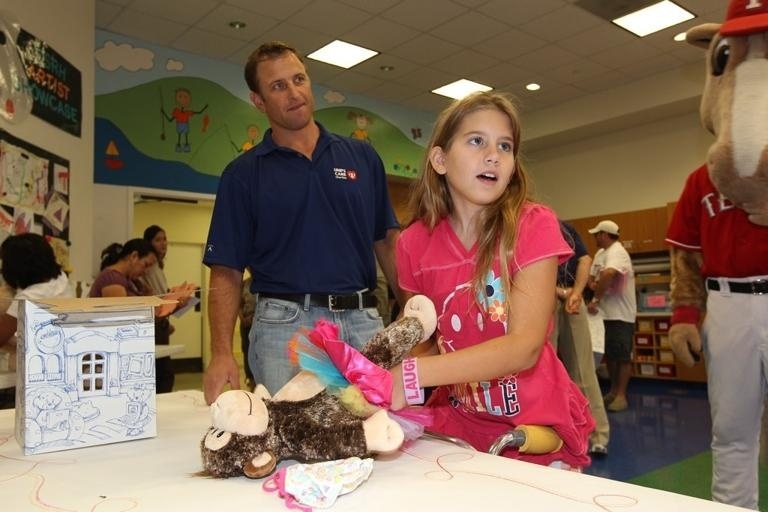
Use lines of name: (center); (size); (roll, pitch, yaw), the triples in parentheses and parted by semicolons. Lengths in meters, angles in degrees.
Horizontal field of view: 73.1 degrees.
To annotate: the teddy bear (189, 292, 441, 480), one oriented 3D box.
teddy bear: (-0.144, 0.373, 1.268); (0.528, 0.338, 0.190); (-26, -26, -15)
